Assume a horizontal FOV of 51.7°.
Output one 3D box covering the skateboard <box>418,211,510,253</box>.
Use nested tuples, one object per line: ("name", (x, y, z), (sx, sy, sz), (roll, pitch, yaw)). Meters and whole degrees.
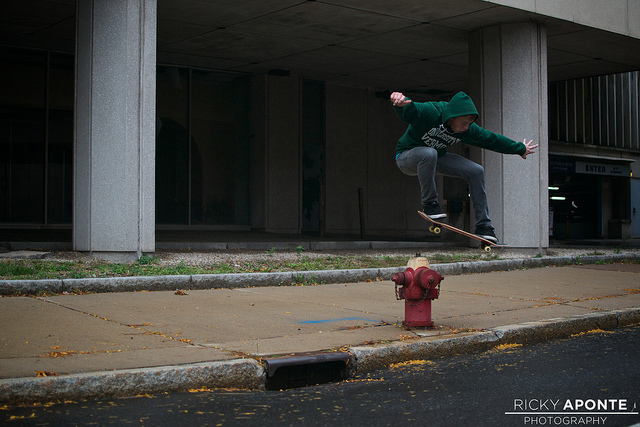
("skateboard", (3.866, 0.514, 17.372), (2.000, 0.299, 0.423), (23, -5, -5))

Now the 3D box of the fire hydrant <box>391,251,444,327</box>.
("fire hydrant", (1.456, 1.116, 9.676), (0.736, 1.055, 0.814), (-1, -2, 12))
